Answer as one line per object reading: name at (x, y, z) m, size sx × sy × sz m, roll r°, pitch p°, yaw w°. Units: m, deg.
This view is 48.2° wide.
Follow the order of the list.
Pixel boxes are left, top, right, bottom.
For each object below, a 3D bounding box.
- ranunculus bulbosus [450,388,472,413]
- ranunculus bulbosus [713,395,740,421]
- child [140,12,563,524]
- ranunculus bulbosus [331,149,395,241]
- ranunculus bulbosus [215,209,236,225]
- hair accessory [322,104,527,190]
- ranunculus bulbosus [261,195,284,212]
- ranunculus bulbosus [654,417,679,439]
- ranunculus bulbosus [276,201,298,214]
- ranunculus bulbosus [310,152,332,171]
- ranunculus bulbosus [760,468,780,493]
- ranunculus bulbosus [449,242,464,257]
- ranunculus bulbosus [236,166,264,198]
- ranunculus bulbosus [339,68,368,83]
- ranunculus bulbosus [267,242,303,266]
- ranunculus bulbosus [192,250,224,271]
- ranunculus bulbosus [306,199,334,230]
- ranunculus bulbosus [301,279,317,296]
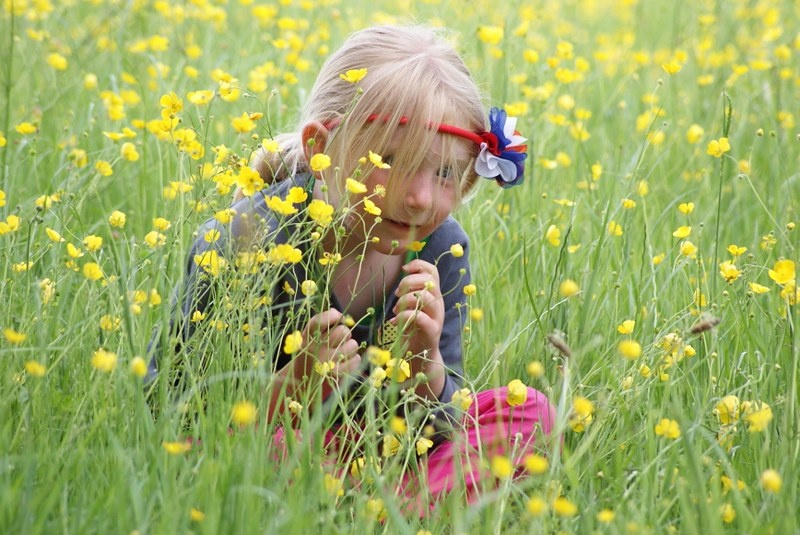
ranunculus bulbosus at (0.158, 0.343, 2.294) m, size 0.049 × 0.057 × 0.101 m, roll 8°, pitch 0°, yaw 4°
ranunculus bulbosus at (0.821, 0.361, 2.241) m, size 0.056 × 0.064 × 0.118 m, roll 8°, pitch -1°, yaw 21°
child at (-0.033, -0.011, 2.699) m, size 1.066 × 1.338 × 0.909 m, roll 5°, pitch 14°, yaw -12°
ranunculus bulbosus at (-0.116, -0.195, 2.445) m, size 0.155 × 0.255 × 0.134 m, roll 19°, pitch -17°, yaw 15°
ranunculus bulbosus at (-0.424, -0.128, 2.189) m, size 0.038 × 0.018 × 0.044 m, roll -11°, pitch 11°, yaw 16°
hair accessory at (0.089, -0.329, 2.590) m, size 0.520 × 0.213 × 0.264 m, roll 10°, pitch 1°, yaw 1°
ranunculus bulbosus at (-0.311, -0.149, 2.180) m, size 0.048 × 0.049 × 0.019 m, roll 29°, pitch -39°, yaw 0°
ranunculus bulbosus at (0.640, 0.386, 2.138) m, size 0.055 × 0.044 × 0.064 m, roll 8°, pitch -1°, yaw 16°
ranunculus bulbosus at (-0.272, -0.136, 2.154) m, size 0.034 × 0.014 × 0.034 m, roll 49°, pitch 35°, yaw 0°
ranunculus bulbosus at (-0.201, -0.257, 2.279) m, size 0.047 × 0.047 × 0.018 m, roll 46°, pitch -21°, yaw 21°
ranunculus bulbosus at (0.819, 0.469, 1.962) m, size 0.036 × 0.043 × 0.151 m, roll 7°, pitch -1°, yaw 25°
ranunculus bulbosus at (0.150, -0.038, 2.415) m, size 0.036 × 0.018 × 0.039 m, roll -18°, pitch 17°, yaw 18°
ranunculus bulbosus at (-0.376, -0.209, 2.257) m, size 0.070 × 0.085 × 0.033 m, roll 4°, pitch 9°, yaw 3°
ranunculus bulbosus at (-0.125, -0.526, 2.463) m, size 0.074 × 0.037 × 0.081 m, roll -5°, pitch 4°, yaw 35°
ranunculus bulbosus at (-0.284, -0.030, 2.166) m, size 0.076 × 0.048 × 0.172 m, roll 8°, pitch 0°, yaw -11°
ranunculus bulbosus at (-0.484, -0.020, 2.249) m, size 0.060 × 0.025 × 0.059 m, roll -4°, pitch 25°, yaw -33°
ranunculus bulbosus at (-0.197, -0.132, 2.220) m, size 0.058 × 0.065 × 0.099 m, roll 8°, pitch 0°, yaw -1°
ranunculus bulbosus at (-0.224, 0.053, 2.243) m, size 0.040 × 0.042 × 0.039 m, roll -6°, pitch 4°, yaw -19°
